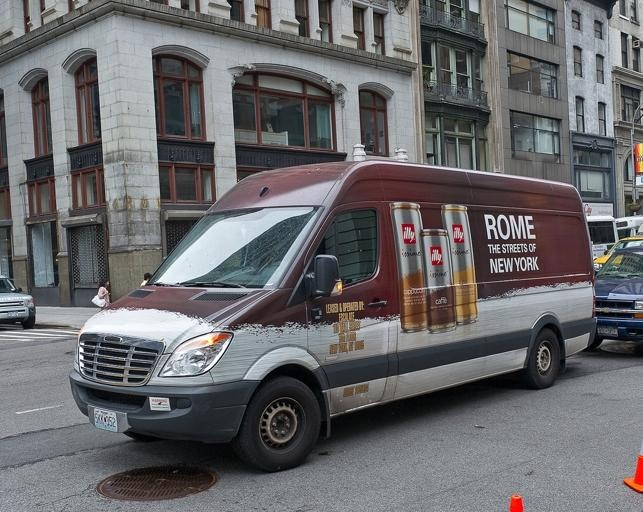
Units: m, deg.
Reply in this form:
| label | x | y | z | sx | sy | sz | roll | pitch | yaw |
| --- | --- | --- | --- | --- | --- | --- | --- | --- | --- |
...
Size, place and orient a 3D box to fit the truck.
| label | x | y | z | sx | sy | sz | roll | pitch | yaw |
| --- | --- | --- | --- | --- | --- | --- | --- | --- | --- |
| truck | 0.706 | 0.431 | 8.727 | 7.623 | 3.007 | 2.574 | -2 | -2 | -45 |
